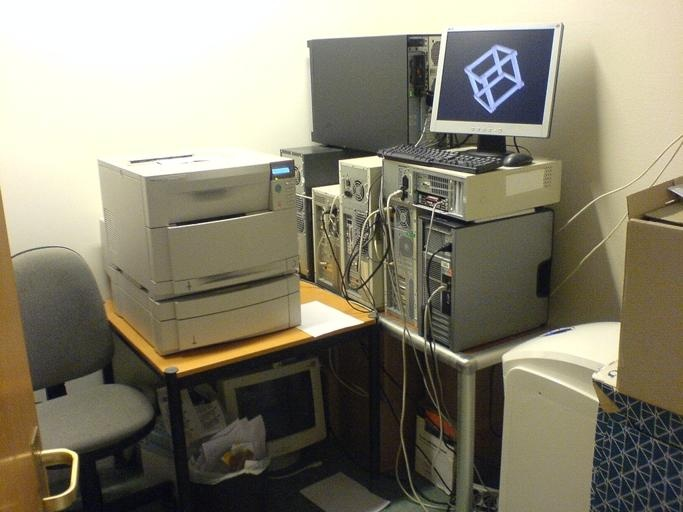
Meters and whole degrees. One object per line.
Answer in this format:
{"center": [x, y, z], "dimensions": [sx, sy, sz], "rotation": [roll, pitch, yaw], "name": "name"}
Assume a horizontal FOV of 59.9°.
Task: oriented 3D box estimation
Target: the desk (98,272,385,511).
{"center": [-0.484, 0.304, 2.588], "dimensions": [0.828, 0.758, 0.924], "rotation": [-12, 24, -30], "name": "desk"}

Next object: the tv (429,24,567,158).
{"center": [0.595, -0.628, 2.231], "dimensions": [0.479, 0.472, 0.161], "rotation": [-9, 19, 47], "name": "tv"}

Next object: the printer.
{"center": [-0.579, -0.137, 2.554], "dimensions": [0.688, 0.774, 0.773], "rotation": [-9, 17, -34], "name": "printer"}

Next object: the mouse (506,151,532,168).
{"center": [0.649, -0.353, 2.186], "dimensions": [0.142, 0.045, 0.055], "rotation": [-10, 17, -20], "name": "mouse"}

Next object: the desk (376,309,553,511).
{"center": [0.562, 0.423, 2.622], "dimensions": [0.799, 0.855, 0.613], "rotation": [-8, 14, -33], "name": "desk"}

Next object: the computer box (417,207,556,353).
{"center": [0.573, 0.065, 2.379], "dimensions": [0.471, 0.522, 0.301], "rotation": [-12, 18, -22], "name": "computer box"}

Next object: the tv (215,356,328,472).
{"center": [-0.344, 0.712, 2.937], "dimensions": [0.475, 0.551, 0.300], "rotation": [-12, 24, -15], "name": "tv"}
